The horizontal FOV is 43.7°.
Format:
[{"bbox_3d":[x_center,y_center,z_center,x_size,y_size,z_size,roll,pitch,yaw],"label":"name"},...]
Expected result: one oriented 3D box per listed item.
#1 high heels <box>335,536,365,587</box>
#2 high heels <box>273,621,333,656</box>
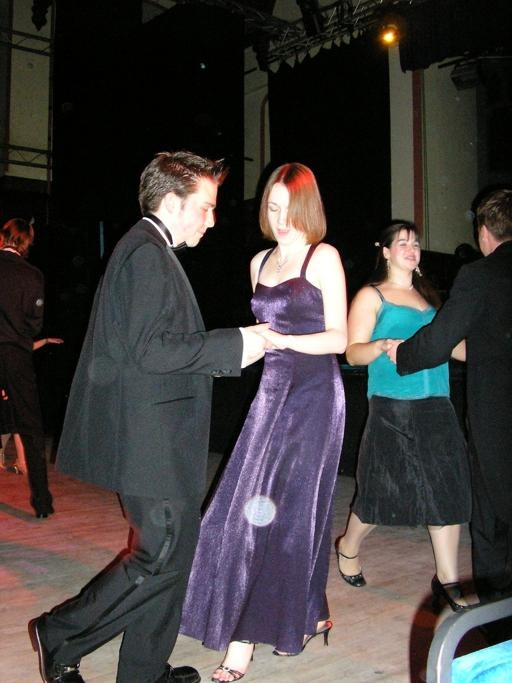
[{"bbox_3d":[0.378,0.914,2.666,0.073,0.073,0.191,-1,34,-22],"label":"high heels"},{"bbox_3d":[0.161,0.935,2.025,0.260,0.094,0.082,6,-17,-22],"label":"high heels"}]
